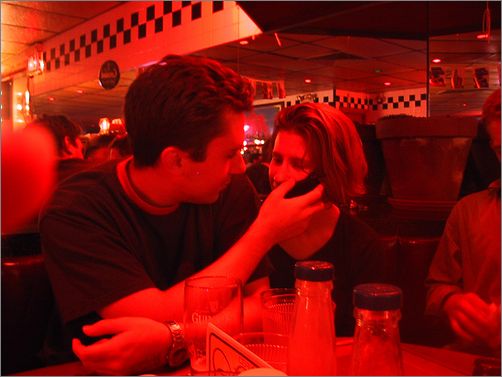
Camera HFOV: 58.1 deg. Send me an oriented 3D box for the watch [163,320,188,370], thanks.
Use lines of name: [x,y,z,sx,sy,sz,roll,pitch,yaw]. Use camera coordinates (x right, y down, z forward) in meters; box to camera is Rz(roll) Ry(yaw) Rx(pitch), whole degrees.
watch: [-0.239,0.503,1.443,0.037,0.109,0.107,-6,-3,-25]

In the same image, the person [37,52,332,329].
person: [-0.204,-0.129,2.137,1.038,1.582,0.896,4,15,19]

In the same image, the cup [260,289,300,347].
cup: [0.082,0.371,1.300,0.132,0.217,0.135,2,-12,0]

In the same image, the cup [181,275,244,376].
cup: [-0.115,0.359,1.222,0.212,0.337,0.208,0,-8,0]
